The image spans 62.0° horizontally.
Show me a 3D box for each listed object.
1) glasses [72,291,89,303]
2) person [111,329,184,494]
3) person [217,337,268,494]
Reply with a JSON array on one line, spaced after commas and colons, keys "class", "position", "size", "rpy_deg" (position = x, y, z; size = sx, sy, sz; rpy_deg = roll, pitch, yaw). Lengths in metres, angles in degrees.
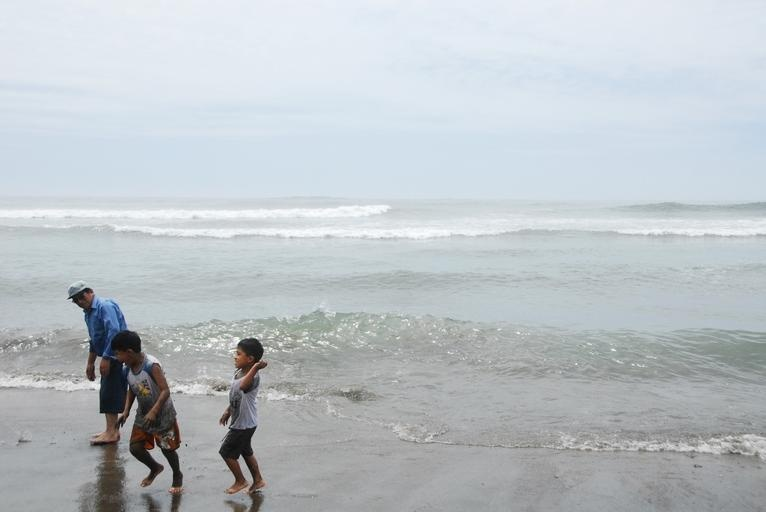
[{"class": "glasses", "position": [-4.269, 0.589, 8.995], "size": [0.186, 0.086, 0.202], "rpy_deg": [-8, 9, 0]}, {"class": "person", "position": [-2.968, 1.983, 8.120], "size": [0.844, 2.036, 0.303], "rpy_deg": [1, 5, 11]}, {"class": "person", "position": [-1.784, 2.025, 8.087], "size": [0.559, 1.976, 0.411], "rpy_deg": [-1, 5, -11]}]
